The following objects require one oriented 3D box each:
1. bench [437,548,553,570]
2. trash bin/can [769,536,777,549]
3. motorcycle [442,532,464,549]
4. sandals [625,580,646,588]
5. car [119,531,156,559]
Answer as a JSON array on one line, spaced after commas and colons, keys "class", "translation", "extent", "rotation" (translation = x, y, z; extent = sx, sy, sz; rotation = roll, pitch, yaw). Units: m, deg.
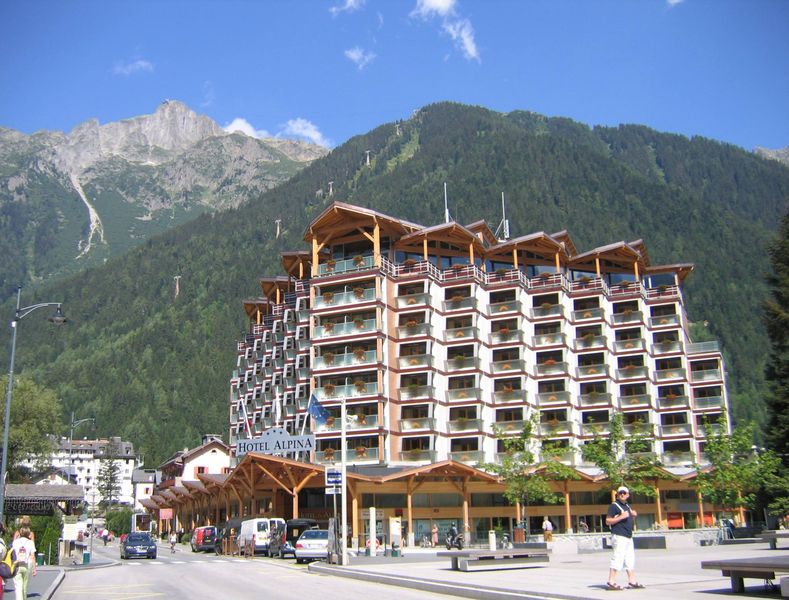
[{"class": "bench", "translation": [4.210, 11.609, 37.158], "extent": [5.020, 0.884, 2.553], "rotation": [14, -23, -40]}, {"class": "trash bin/can", "translation": [18.199, 11.863, 40.505], "extent": [0.338, 0.525, 4.253], "rotation": [-9, -19, 21]}, {"class": "motorcycle", "translation": [4.137, 17.047, 58.882], "extent": [1.037, 1.210, 1.937], "rotation": [6, -15, -12]}, {"class": "sandals", "translation": [7.435, 8.888, 25.984], "extent": [0.612, 0.246, 0.200], "rotation": [1, -6, -17]}, {"class": "car", "translation": [-16.965, 16.512, 55.866], "extent": [1.673, 1.696, 2.791], "rotation": [12, -23, -37]}]
